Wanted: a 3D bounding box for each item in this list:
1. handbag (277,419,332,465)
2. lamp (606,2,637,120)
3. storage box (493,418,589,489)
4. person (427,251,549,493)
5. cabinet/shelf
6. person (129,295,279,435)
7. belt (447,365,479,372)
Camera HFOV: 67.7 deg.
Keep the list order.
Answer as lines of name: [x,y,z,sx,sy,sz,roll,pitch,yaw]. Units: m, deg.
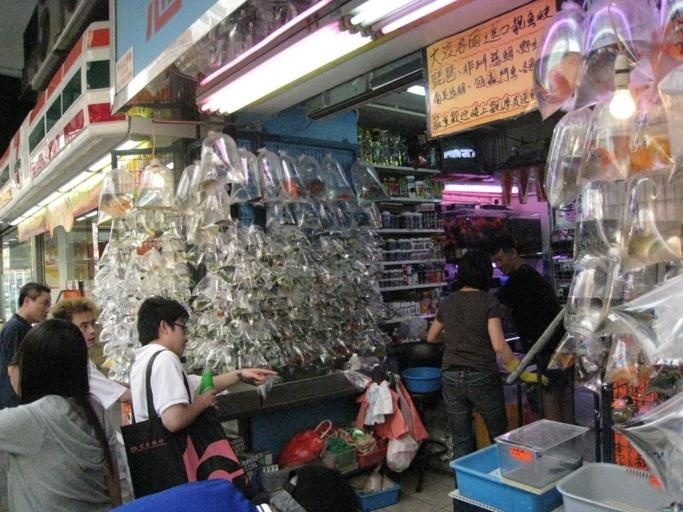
handbag: [-0.250,1.291,3.589,0.336,0.112,0.197,-27,28,-31]
lamp: [0.984,-0.658,1.780,0.181,0.320,0.080,-1,-4,-36]
storage box: [0.904,0.876,2.290,0.408,0.164,0.219,-1,-5,-37]
person: [1.037,0.868,3.689,0.692,1.761,0.558,1,12,32]
cabinet/shelf: [0.766,-0.069,5.596,0.726,1.837,1.685,-5,-4,13]
person: [-0.740,0.694,2.613,0.505,0.931,0.629,-14,-16,32]
belt: [0.821,0.767,3.492,0.219,0.044,0.039,-9,-6,43]
